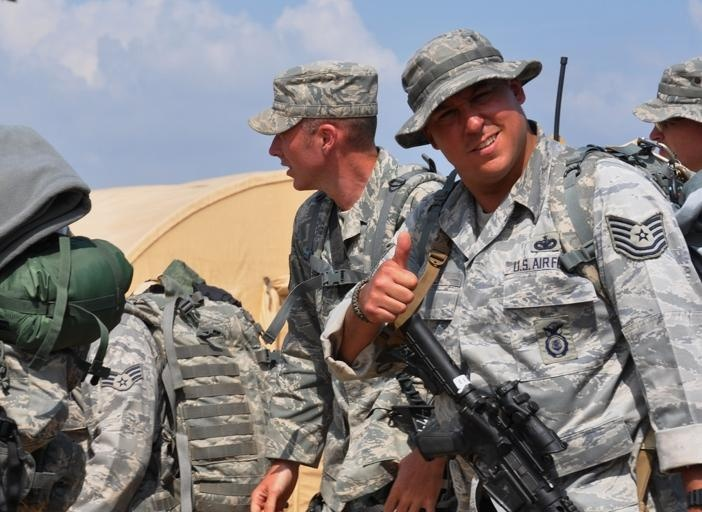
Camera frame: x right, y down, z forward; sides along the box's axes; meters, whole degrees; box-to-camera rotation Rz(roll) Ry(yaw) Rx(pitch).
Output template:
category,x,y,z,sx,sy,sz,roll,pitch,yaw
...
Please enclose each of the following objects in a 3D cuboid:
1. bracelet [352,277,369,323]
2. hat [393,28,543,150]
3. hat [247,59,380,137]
category,x,y,z,sx,sy,sz,roll,pitch,yaw
bracelet,0.031,0.223,4.834,0.061,0.171,0.146,5,-14,-23
hat,0.517,-0.962,5.050,0.715,0.357,0.665,-26,8,16
hat,-0.276,-0.992,6.502,0.870,0.399,0.572,-4,-2,-7
